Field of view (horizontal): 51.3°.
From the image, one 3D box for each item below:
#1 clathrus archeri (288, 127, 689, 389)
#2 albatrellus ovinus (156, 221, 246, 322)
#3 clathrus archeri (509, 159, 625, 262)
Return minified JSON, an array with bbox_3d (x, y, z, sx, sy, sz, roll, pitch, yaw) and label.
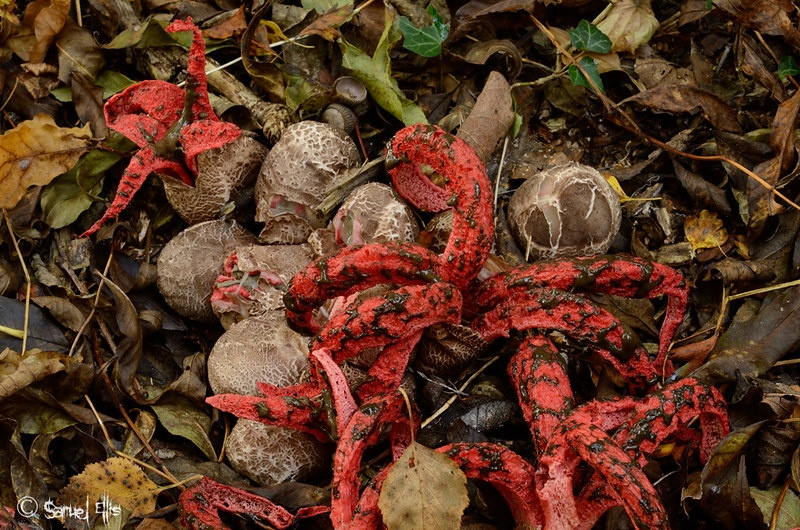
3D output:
[{"bbox_3d":[0.247,0.097,3.626,1.406,1.019,1.157,-18,-36,-11],"label":"clathrus archeri"},{"bbox_3d":[-0.898,-0.064,3.858,0.416,0.490,0.430,-14,-66,-28],"label":"albatrellus ovinus"},{"bbox_3d":[0.721,-0.272,3.755,0.542,0.394,0.396,-9,-67,-3],"label":"clathrus archeri"}]
